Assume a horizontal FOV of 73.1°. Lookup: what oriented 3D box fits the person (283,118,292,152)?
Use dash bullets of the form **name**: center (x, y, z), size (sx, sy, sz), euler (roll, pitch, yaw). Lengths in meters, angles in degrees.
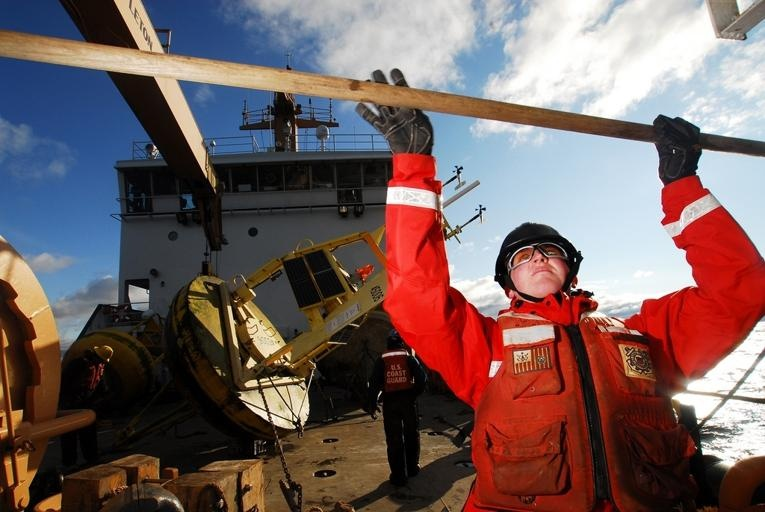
- **person**: center (-3.378, -4.357, 18.631), size (0.218, 1.195, 0.367), euler (2, -6, -14)
